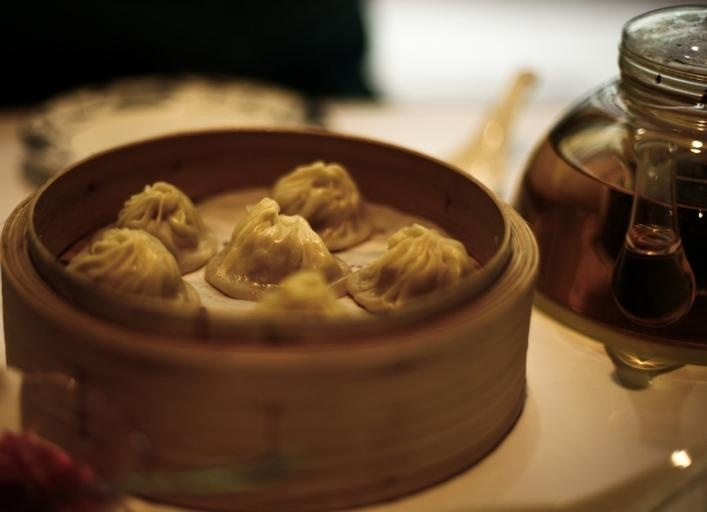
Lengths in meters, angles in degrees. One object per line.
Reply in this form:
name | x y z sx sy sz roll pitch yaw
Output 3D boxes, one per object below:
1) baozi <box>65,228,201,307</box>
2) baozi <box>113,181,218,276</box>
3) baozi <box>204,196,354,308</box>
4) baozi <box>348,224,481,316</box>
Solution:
baozi | -0.263 0.000 0.792 0.147 0.055 0.117 26 38 11
baozi | -0.255 -0.045 0.901 0.127 0.082 0.133 11 22 12
baozi | -0.096 -0.016 0.901 0.127 0.126 0.177 -18 28 -35
baozi | 0.066 0.018 0.800 0.142 0.105 0.120 -8 27 -19
